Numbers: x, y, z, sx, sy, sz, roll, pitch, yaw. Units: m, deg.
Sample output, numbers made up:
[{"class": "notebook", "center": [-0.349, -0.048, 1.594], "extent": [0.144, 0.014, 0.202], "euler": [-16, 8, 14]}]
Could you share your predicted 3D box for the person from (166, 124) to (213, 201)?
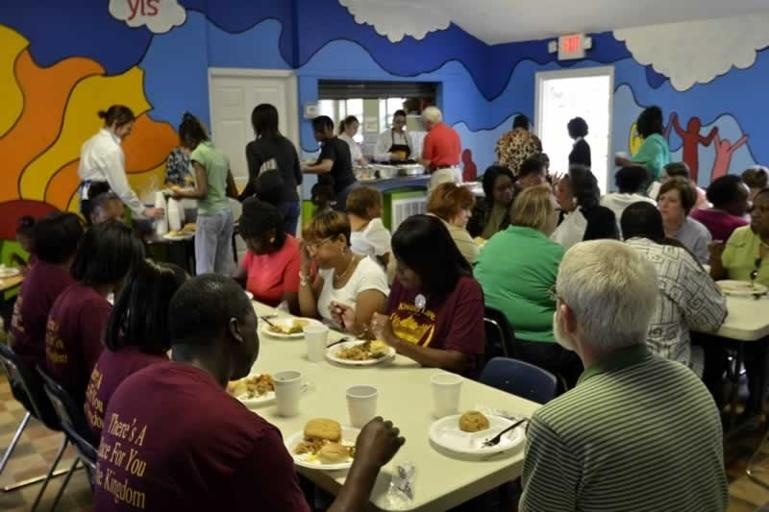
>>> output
[{"class": "person", "center": [-1.898, -0.942, 5.638], "extent": [0.269, 0.780, 0.462], "euler": [-8, 12, -41]}]

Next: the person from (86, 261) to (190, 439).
[{"class": "person", "center": [-0.853, 0.331, 1.994], "extent": [0.254, 0.848, 0.294], "euler": [39, 38, 16]}]

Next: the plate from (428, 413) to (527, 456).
[{"class": "plate", "center": [0.356, 0.696, 2.189], "extent": [0.363, 0.054, 0.378], "euler": [2, -6, 13]}]

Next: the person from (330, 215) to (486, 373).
[{"class": "person", "center": [0.222, 0.206, 3.357], "extent": [0.740, 1.183, 0.741], "euler": [-6, 4, -26]}]

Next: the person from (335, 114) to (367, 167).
[{"class": "person", "center": [-0.480, -1.694, 8.855], "extent": [0.543, 0.934, 0.476], "euler": [7, 32, 7]}]

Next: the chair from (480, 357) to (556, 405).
[{"class": "chair", "center": [0.631, 0.580, 2.712], "extent": [0.195, 0.220, 0.338], "euler": [21, 27, 28]}]

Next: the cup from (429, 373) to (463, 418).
[{"class": "cup", "center": [0.258, 0.569, 2.374], "extent": [0.139, 0.152, 0.143], "euler": [5, -22, 2]}]

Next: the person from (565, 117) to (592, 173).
[{"class": "person", "center": [2.772, -1.624, 8.153], "extent": [0.297, 0.697, 1.505], "euler": [3, 10, 18]}]

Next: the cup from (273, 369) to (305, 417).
[{"class": "cup", "center": [-0.399, 0.572, 2.462], "extent": [0.121, 0.166, 0.178], "euler": [0, 2, -1]}]

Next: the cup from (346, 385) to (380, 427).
[{"class": "cup", "center": [-0.077, 0.580, 2.296], "extent": [0.141, 0.162, 0.148], "euler": [-1, 4, 0]}]

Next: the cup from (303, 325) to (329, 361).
[{"class": "cup", "center": [-0.327, 0.442, 2.936], "extent": [0.145, 0.156, 0.150], "euler": [0, -2, 0]}]

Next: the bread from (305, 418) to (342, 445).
[{"class": "bread", "center": [-0.234, 0.661, 2.188], "extent": [0.083, 0.045, 0.090], "euler": [2, 4, 2]}]

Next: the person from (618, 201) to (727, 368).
[{"class": "person", "center": [1.724, 0.197, 3.392], "extent": [0.466, 1.125, 0.606], "euler": [-12, 38, 25]}]

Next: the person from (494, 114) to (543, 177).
[{"class": "person", "center": [1.672, -1.319, 7.106], "extent": [0.589, 0.808, 0.474], "euler": [2, -15, 8]}]

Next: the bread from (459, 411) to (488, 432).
[{"class": "bread", "center": [0.347, 0.632, 2.237], "extent": [0.075, 0.048, 0.077], "euler": [-3, -5, 8]}]

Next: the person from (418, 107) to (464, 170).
[{"class": "person", "center": [0.823, -1.694, 8.422], "extent": [0.532, 0.914, 0.438], "euler": [2, 9, 11]}]

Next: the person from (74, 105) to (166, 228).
[{"class": "person", "center": [-2.818, -0.948, 6.057], "extent": [0.609, 1.526, 0.869], "euler": [-20, 50, -42]}]

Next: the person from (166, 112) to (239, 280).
[{"class": "person", "center": [-1.835, -0.406, 5.895], "extent": [0.646, 2.075, 0.622], "euler": [8, 11, 37]}]

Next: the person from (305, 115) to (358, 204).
[{"class": "person", "center": [-0.672, -1.173, 7.101], "extent": [0.639, 1.189, 1.977], "euler": [-1, 9, -3]}]

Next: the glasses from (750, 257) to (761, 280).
[{"class": "glasses", "center": [2.565, 0.085, 3.963], "extent": [0.044, 0.124, 0.089], "euler": [18, -7, -8]}]
